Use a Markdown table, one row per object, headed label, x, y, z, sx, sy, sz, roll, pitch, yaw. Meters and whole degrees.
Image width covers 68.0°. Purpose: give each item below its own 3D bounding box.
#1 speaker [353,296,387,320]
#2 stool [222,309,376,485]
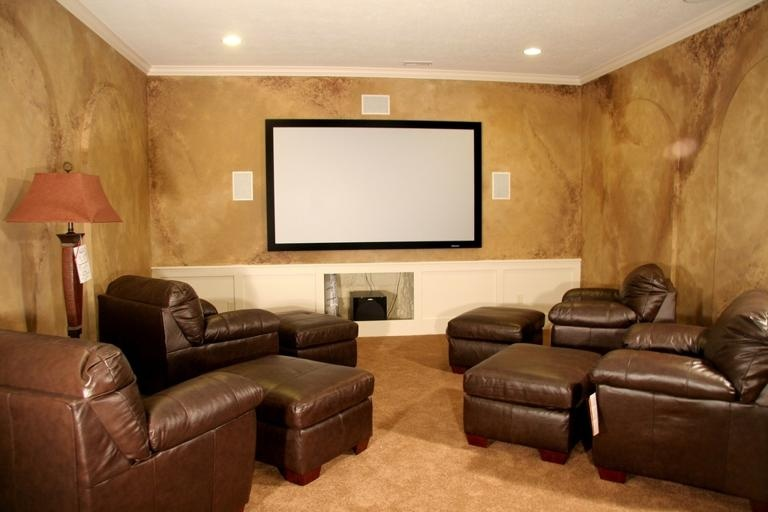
| label | x | y | z | sx | sy | sz | roll | pitch | yaw |
| --- | --- | --- | --- | --- | --- | --- | --- | --- | --- |
| speaker | -0.178 | 0.569 | 7.166 | 0.533 | 0.344 | 0.274 | 1 | 5 | -3 |
| stool | -0.726 | 1.085 | 4.717 | 1.375 | 0.971 | 0.809 | -1 | 2 | 43 |
